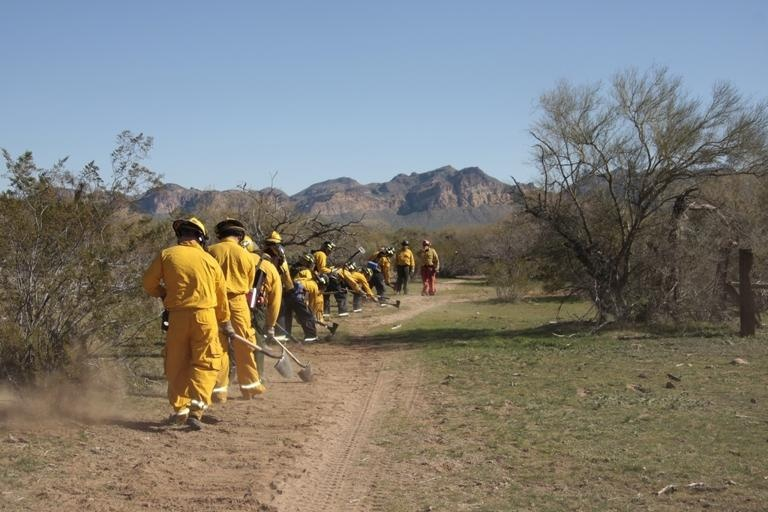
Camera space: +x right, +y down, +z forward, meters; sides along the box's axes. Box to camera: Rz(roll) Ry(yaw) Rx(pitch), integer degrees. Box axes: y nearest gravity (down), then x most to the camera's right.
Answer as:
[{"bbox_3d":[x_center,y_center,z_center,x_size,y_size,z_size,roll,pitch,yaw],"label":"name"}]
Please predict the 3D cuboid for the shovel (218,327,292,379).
[{"bbox_3d":[-2.403,1.839,12.280,1.335,0.741,0.722,6,-7,7],"label":"shovel"}]

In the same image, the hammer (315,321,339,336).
[{"bbox_3d":[-1.540,1.924,17.704,0.495,0.309,0.489,19,0,-8],"label":"hammer"}]

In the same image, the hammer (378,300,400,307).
[{"bbox_3d":[0.219,1.708,23.171,0.434,0.191,0.394,0,2,-3],"label":"hammer"}]

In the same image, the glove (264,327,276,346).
[{"bbox_3d":[-2.114,1.528,12.478,0.209,0.283,0.125,1,13,29],"label":"glove"}]

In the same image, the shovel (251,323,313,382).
[{"bbox_3d":[-2.089,2.003,13.449,0.128,0.366,1.558,-34,-40,6],"label":"shovel"}]
